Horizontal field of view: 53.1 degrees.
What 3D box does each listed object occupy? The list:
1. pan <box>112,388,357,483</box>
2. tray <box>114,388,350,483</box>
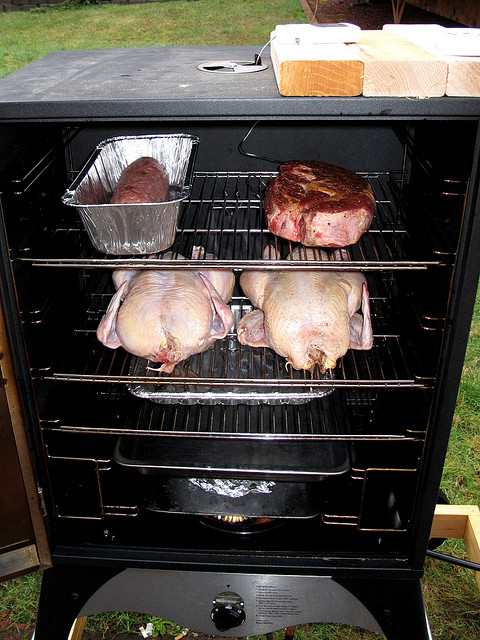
[{"bbox_3d":[-0.015,0.332,1.356,0.462,0.114,0.336,-2,29,3],"label":"pan"},{"bbox_3d":[-0.010,0.209,1.644,0.837,0.209,0.617,-2,29,3],"label":"tray"}]
